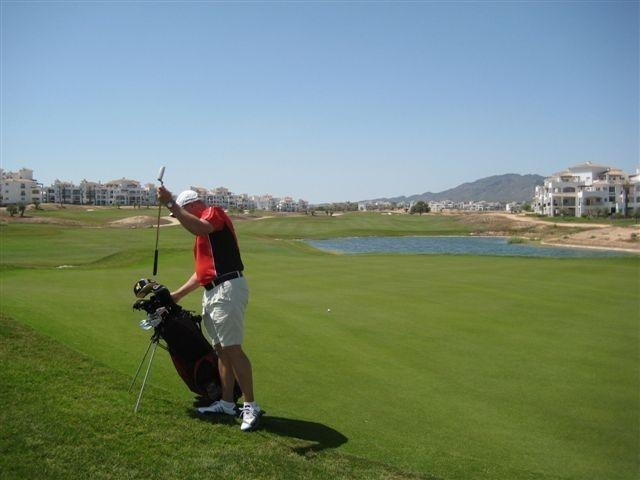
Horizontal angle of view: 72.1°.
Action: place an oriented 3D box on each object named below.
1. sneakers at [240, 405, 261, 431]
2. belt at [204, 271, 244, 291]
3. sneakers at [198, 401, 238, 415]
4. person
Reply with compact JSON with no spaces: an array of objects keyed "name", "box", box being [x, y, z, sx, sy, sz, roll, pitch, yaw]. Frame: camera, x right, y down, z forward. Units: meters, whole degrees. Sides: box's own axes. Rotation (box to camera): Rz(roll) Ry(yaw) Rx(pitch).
[{"name":"sneakers","box":[-0.896,2.276,5.628,0.205,0.209,0.364,1,9,-5]},{"name":"belt","box":[-1.288,0.554,5.875,0.493,0.294,0.228,0,10,-12]},{"name":"sneakers","box":[-1.339,2.269,5.997,0.606,0.205,0.190,5,-13,-2]},{"name":"person","box":[-1.406,0.864,5.930,1.141,3.058,1.536,-1,11,-17]}]
